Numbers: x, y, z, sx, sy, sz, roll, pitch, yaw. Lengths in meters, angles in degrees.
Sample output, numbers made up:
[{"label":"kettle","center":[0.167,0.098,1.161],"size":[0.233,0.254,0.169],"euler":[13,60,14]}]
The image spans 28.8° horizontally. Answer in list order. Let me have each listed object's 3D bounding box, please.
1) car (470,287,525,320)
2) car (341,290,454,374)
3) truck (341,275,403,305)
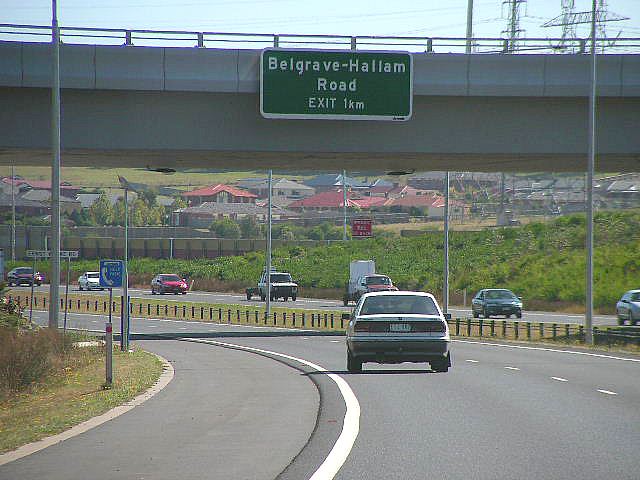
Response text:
[{"label":"car","center":[8.682,3.067,60.674],"size":[1.988,1.517,2.408],"euler":[0,2,-2]},{"label":"car","center":[2.201,2.625,34.810],"size":[2.806,2.149,1.312],"euler":[1,0,4]},{"label":"truck","center":[2.866,3.010,69.242],"size":[2.748,2.006,3.146],"euler":[-2,0,-11]}]
